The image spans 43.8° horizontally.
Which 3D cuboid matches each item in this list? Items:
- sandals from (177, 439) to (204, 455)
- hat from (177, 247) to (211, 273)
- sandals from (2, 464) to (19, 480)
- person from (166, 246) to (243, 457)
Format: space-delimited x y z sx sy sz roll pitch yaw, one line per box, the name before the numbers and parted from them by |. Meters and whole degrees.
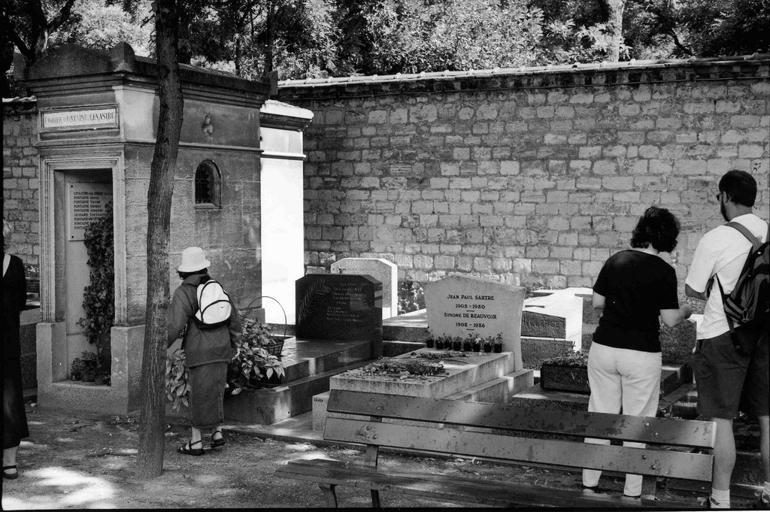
sandals | -2.187 2.134 10.738 0.310 0.132 0.148 3 -1 27
hat | -2.123 0.049 10.829 0.312 0.180 0.362 6 20 24
sandals | -3.937 2.253 10.129 0.126 0.153 0.295 2 1 1
person | -2.025 1.061 10.714 0.801 2.292 0.446 1 1 -10
